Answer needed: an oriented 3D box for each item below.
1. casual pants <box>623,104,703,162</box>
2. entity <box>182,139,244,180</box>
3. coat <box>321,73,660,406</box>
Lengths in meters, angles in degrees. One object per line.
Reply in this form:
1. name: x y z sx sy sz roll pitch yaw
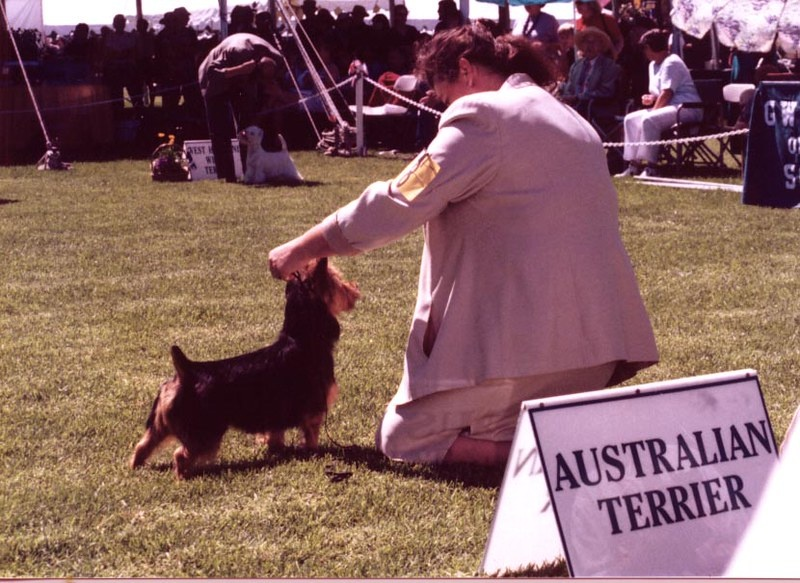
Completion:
1. casual pants: 3.133 -1.826 12.346 0.773 0.844 0.646 -1 6 -17
2. entity: -2.172 -1.529 12.065 0.680 0.469 0.348 -6 13 -12
3. coat: 0.342 -0.314 5.443 1.718 1.651 1.397 -11 13 -37
